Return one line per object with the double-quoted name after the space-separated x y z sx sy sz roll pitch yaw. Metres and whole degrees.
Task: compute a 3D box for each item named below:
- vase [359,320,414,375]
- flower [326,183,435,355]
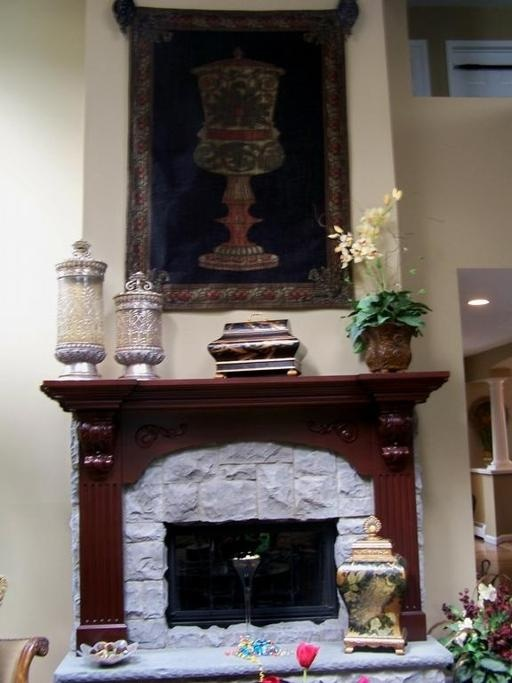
0.584 0.051 5.381 0.294 0.184 0.268 3 -14 -24 "vase"
0.557 -0.340 5.526 0.402 0.781 0.542 -5 -12 3 "flower"
